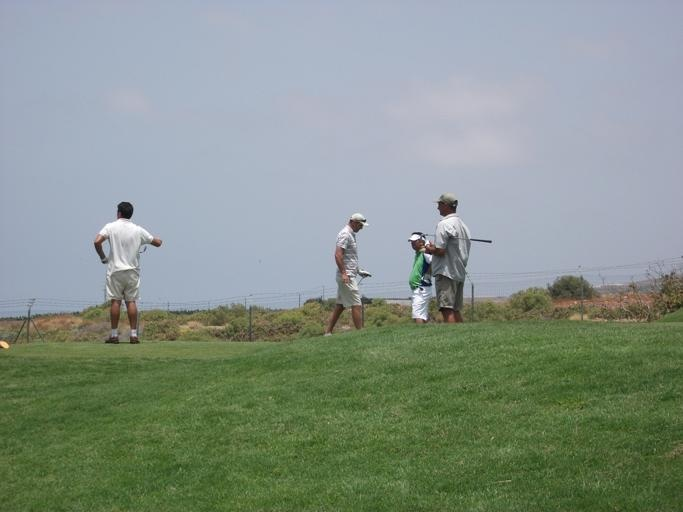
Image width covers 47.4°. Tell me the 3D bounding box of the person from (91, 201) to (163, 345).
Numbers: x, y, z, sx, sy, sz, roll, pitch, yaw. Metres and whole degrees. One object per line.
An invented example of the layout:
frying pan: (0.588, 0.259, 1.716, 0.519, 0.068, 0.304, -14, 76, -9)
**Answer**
person: (-3.358, 0.260, 12.062, 0.561, 2.207, 0.935, -4, -7, 39)

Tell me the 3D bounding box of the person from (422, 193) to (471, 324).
person: (1.543, 0.015, 11.188, 0.579, 1.897, 0.575, 0, -5, 10)

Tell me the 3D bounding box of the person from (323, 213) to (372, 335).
person: (0.092, 0.280, 12.519, 0.575, 1.938, 0.641, 1, -5, 2)

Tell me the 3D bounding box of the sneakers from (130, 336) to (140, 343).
sneakers: (-3.235, 1.328, 12.225, 0.089, 0.113, 0.123, -3, -7, -5)
